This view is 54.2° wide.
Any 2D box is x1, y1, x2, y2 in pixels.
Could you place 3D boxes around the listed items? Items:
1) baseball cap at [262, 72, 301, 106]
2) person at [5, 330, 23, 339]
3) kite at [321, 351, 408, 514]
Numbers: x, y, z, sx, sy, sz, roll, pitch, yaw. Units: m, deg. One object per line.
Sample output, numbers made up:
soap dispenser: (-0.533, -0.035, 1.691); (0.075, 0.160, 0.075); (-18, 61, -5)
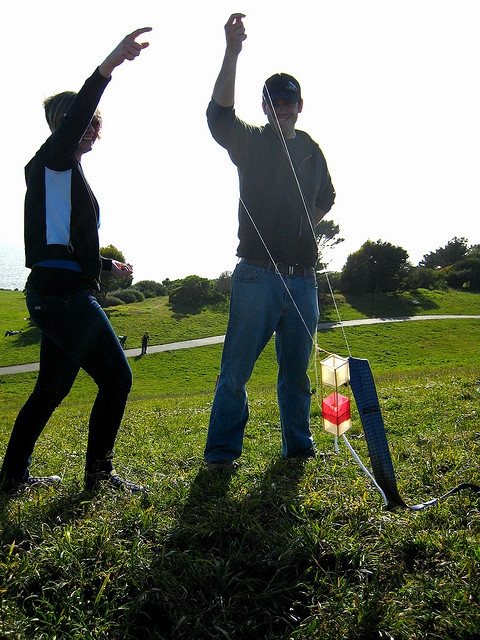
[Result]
baseball cap: (0.280, -1.597, 3.210); (0.255, 0.214, 0.325); (2, 0, 4)
person: (-17.346, 1.051, 35.971); (0.906, 0.342, 0.679); (9, 10, 29)
kite: (0.677, 0.522, 2.215); (0.183, 0.826, 0.416); (-12, 0, -14)
